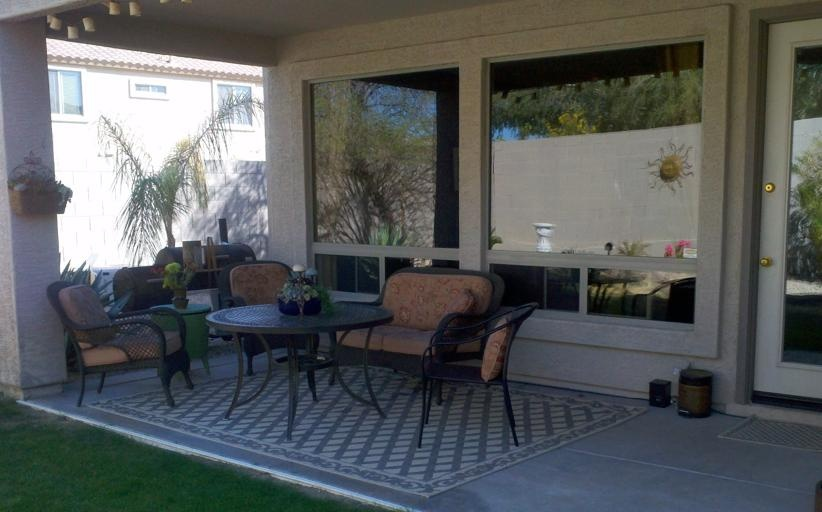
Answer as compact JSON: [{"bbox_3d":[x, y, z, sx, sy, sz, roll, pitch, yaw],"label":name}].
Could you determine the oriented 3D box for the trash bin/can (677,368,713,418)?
[{"bbox_3d":[2.747,1.342,5.838,0.447,0.406,0.354,1,2,-10],"label":"trash bin/can"}]

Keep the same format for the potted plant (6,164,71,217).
[{"bbox_3d":[-3.887,-0.670,6.276,0.438,0.459,0.584,-2,-5,30],"label":"potted plant"}]
